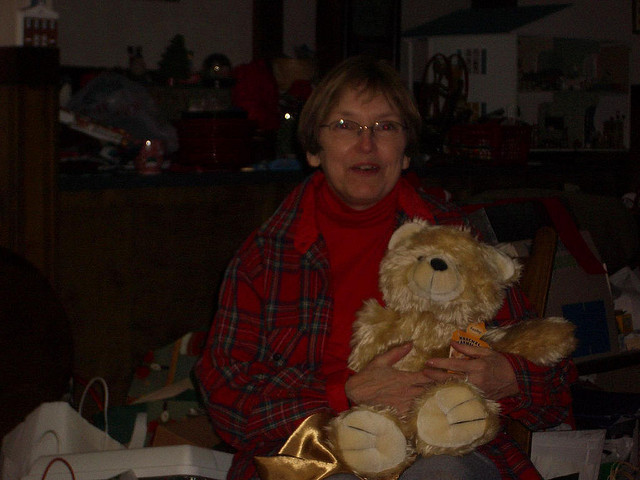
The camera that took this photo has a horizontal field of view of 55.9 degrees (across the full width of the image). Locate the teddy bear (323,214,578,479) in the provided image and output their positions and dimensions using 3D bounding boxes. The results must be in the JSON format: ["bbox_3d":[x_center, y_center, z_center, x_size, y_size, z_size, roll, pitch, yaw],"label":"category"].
[{"bbox_3d":[0.331,0.265,1.527,0.648,0.610,0.258,-1,5,-21],"label":"teddy bear"}]

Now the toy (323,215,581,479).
[{"bbox_3d":[0.334,0.293,1.672,0.537,0.649,0.309,14,-10,12],"label":"toy"}]
